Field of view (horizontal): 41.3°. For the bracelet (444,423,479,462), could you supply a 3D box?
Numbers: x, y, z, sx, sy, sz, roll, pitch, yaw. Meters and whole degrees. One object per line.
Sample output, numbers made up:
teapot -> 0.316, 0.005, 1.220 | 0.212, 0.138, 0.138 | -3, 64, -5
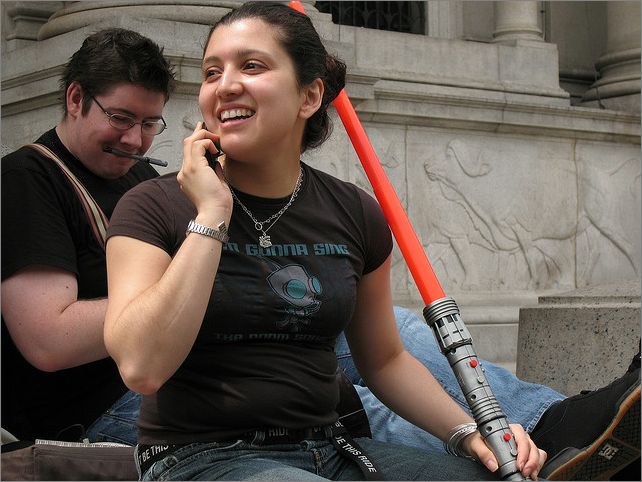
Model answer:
bracelet -> 0.474, 0.694, 3.002 | 0.119, 0.054, 0.112 | -36, -30, 14

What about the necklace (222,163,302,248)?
necklace -> -0.215, -0.112, 2.890 | 0.302, 0.302, 0.024 | -2, -21, -3

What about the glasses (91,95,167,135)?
glasses -> -0.862, -0.498, 3.642 | 0.179, 0.051, 0.178 | 1, 33, -45

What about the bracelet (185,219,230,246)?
bracelet -> -0.367, -0.023, 2.761 | 0.111, 0.072, 0.120 | 10, 0, 16
